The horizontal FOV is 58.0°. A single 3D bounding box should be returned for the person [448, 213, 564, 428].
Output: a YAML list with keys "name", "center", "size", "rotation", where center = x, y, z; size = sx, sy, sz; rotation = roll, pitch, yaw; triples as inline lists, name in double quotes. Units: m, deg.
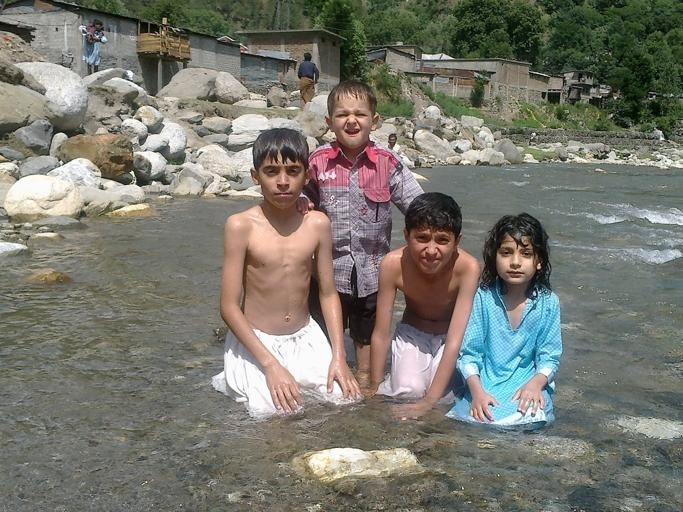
- name: "person"
  center: [0.970, 0.333, 3.492]
  size: [0.563, 1.109, 0.595]
  rotation: [6, 14, 15]

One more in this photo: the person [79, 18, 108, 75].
- name: "person"
  center: [-8.722, -7.343, 21.577]
  size: [0.794, 1.900, 1.102]
  rotation: [-3, 14, -22]

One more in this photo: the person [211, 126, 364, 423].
- name: "person"
  center: [-0.325, 0.056, 3.582]
  size: [0.848, 1.559, 0.697]
  rotation: [0, 13, -12]
